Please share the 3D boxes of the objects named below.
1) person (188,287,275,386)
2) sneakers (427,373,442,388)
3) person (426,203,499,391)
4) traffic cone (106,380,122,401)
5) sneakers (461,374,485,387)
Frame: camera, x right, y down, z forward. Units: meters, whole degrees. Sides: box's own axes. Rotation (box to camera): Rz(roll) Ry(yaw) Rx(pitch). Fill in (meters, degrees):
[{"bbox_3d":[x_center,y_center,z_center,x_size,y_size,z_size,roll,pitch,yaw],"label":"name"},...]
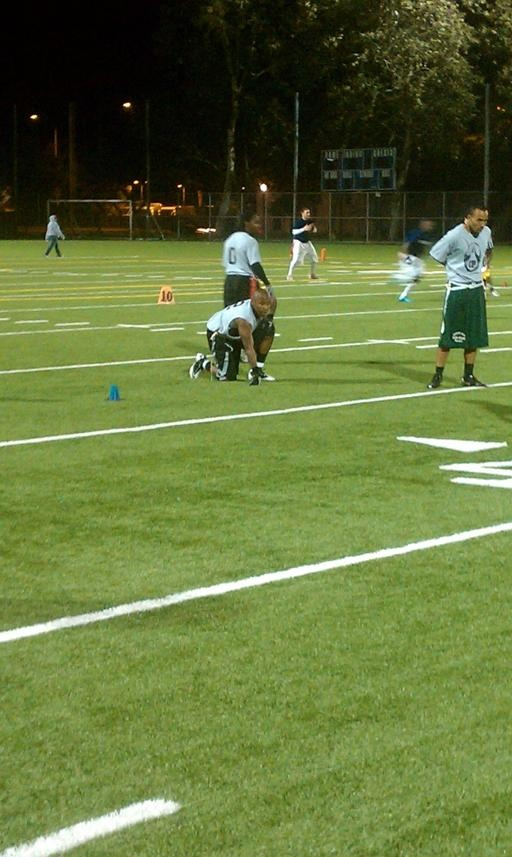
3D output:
[{"bbox_3d":[-0.227,-1.158,9.942,0.731,1.188,1.245,-3,6,-34],"label":"person"},{"bbox_3d":[2.229,-0.581,9.668,0.102,0.155,0.326,-1,5,32],"label":"sneakers"},{"bbox_3d":[2.376,-1.498,9.178,0.662,2.096,0.708,1,5,15],"label":"person"},{"bbox_3d":[-1.654,-0.461,9.126,0.154,0.292,0.257,-1,7,-14],"label":"traffic cone"},{"bbox_3d":[2.685,-0.604,9.748,0.316,0.154,0.117,1,5,10],"label":"sneakers"}]
